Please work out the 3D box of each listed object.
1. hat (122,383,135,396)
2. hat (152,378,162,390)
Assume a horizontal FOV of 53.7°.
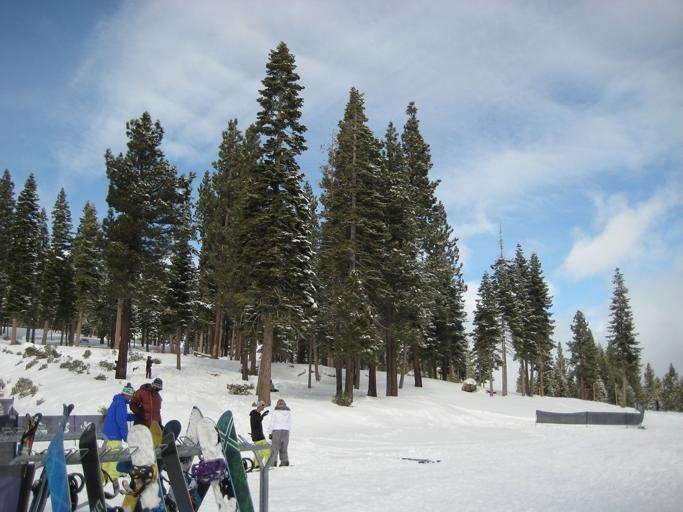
[{"bbox_3d":[-8.434,5.255,26.643,0.470,0.544,0.475,7,-19,-3],"label":"hat"},{"bbox_3d":[-7.283,5.080,26.713,0.379,0.445,0.586,6,-16,-21],"label":"hat"}]
